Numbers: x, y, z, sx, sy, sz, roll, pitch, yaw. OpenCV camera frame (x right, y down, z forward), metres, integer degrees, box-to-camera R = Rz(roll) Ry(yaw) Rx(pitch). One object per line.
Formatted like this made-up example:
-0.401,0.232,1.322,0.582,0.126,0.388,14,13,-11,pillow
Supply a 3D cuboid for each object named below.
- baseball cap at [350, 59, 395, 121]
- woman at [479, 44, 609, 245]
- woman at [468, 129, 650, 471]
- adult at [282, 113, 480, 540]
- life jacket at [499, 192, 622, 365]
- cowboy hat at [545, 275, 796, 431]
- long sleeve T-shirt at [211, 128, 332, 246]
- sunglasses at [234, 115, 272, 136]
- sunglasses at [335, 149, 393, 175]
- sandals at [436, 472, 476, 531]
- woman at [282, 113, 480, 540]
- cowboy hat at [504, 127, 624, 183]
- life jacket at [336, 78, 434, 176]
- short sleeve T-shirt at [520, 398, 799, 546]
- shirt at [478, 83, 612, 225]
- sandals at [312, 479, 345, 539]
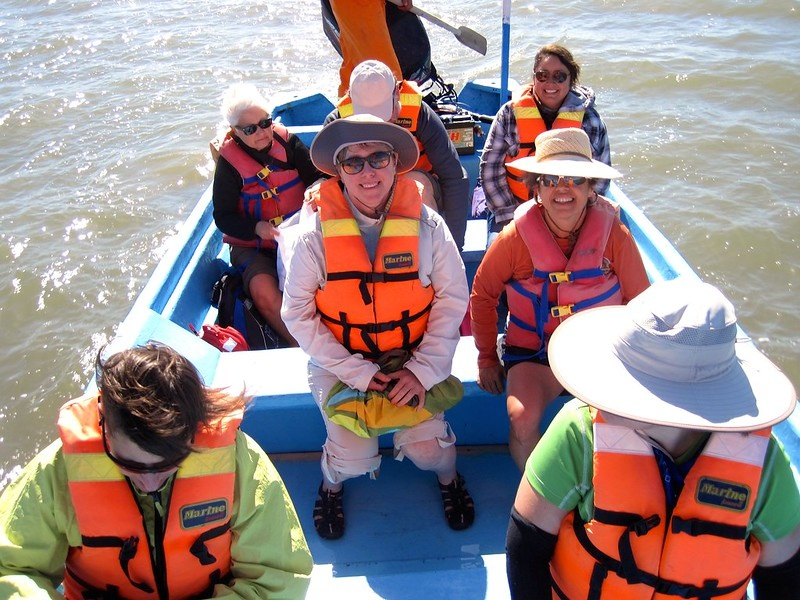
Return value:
-0.150,-1.143,3.925,0.227,0.406,0.198,0,-13,4,baseball cap
0.976,-0.659,4.642,0.807,1.864,0.509,4,-10,20,woman
0.812,0.048,3.516,0.865,1.768,0.919,-15,23,-28,woman
-0.116,0.217,3.513,0.855,2.090,0.754,-2,24,-4,adult
0.763,-0.104,3.245,0.636,0.889,0.470,-1,18,5,life jacket
0.876,0.218,2.346,0.588,0.258,0.602,20,42,40,cowboy hat
-0.771,-0.663,4.169,0.542,0.548,0.314,-35,29,-13,long sleeve T-shirt
-0.879,-1.060,4.304,0.235,0.076,0.081,-23,35,-26,sunglasses
-0.156,-0.635,3.236,0.255,0.085,0.091,-7,31,-2,sunglasses
0.294,1.018,3.466,0.100,0.124,0.305,-7,43,-1,sandals
-0.111,0.210,3.525,0.913,2.152,0.765,0,24,3,woman
0.837,-0.741,3.594,0.526,0.210,0.594,1,4,-12,cowboy hat
-0.118,-1.030,4.341,0.615,0.668,0.460,3,61,16,life jacket
0.905,0.650,2.470,0.689,0.296,0.531,26,47,0,short sleeve T-shirt
0.848,-0.840,4.131,0.655,1.263,0.276,3,24,5,shirt
-0.341,1.050,3.457,0.117,0.112,0.288,2,52,-13,sandals
